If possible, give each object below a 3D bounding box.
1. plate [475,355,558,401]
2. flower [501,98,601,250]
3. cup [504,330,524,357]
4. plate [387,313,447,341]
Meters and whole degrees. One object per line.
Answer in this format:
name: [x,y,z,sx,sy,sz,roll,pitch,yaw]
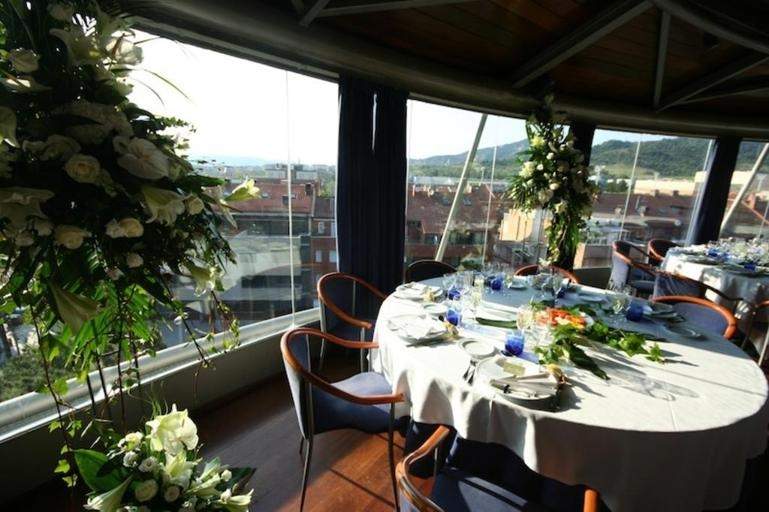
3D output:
plate: [0.780,0.727,2.649,0.470,0.132,0.285,9,13,26]
flower: [1.661,-0.747,4.417,0.824,1.585,0.495,7,13,20]
cup: [0.851,0.585,2.976,0.121,0.137,0.134,4,8,27]
plate: [0.222,0.499,3.087,0.201,0.045,0.213,10,21,21]
